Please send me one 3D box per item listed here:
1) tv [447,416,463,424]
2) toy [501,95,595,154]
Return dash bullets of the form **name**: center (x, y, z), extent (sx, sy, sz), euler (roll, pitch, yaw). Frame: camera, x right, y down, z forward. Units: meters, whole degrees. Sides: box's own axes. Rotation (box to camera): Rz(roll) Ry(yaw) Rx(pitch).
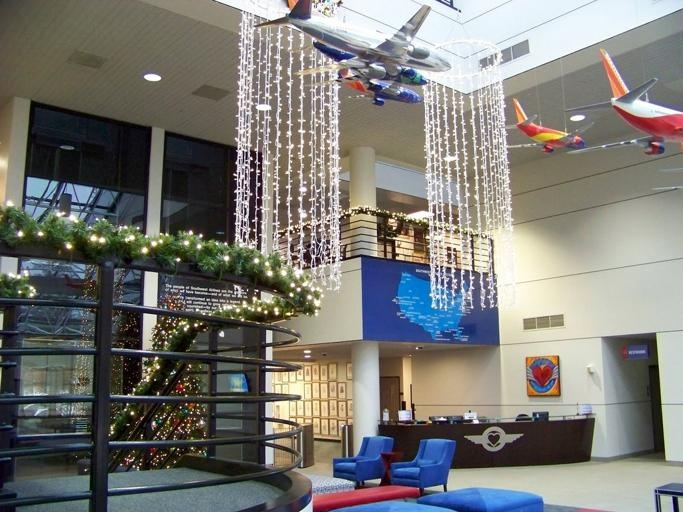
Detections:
- **tv**: center (2.299, 3.250, 11.754), extent (0.285, 0.126, 0.609), euler (-6, -14, 26)
- **toy**: center (3.822, -2.501, 10.919), extent (1.220, 0.504, 1.268), euler (15, -9, -27)
